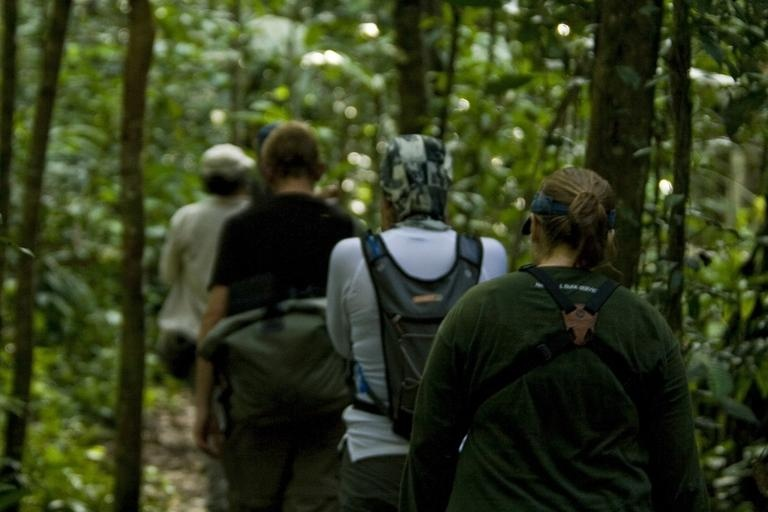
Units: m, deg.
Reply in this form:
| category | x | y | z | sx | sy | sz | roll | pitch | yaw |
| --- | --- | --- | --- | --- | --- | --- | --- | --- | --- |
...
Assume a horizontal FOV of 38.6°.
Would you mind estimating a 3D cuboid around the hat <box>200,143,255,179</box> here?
| category | x | y | z | sx | sy | sz | roll | pitch | yaw |
| --- | --- | --- | --- | --- | --- | --- | --- | --- | --- |
| hat | -0.928 | -0.532 | 6.489 | 0.200 | 0.138 | 0.249 | -6 | -5 | 28 |
